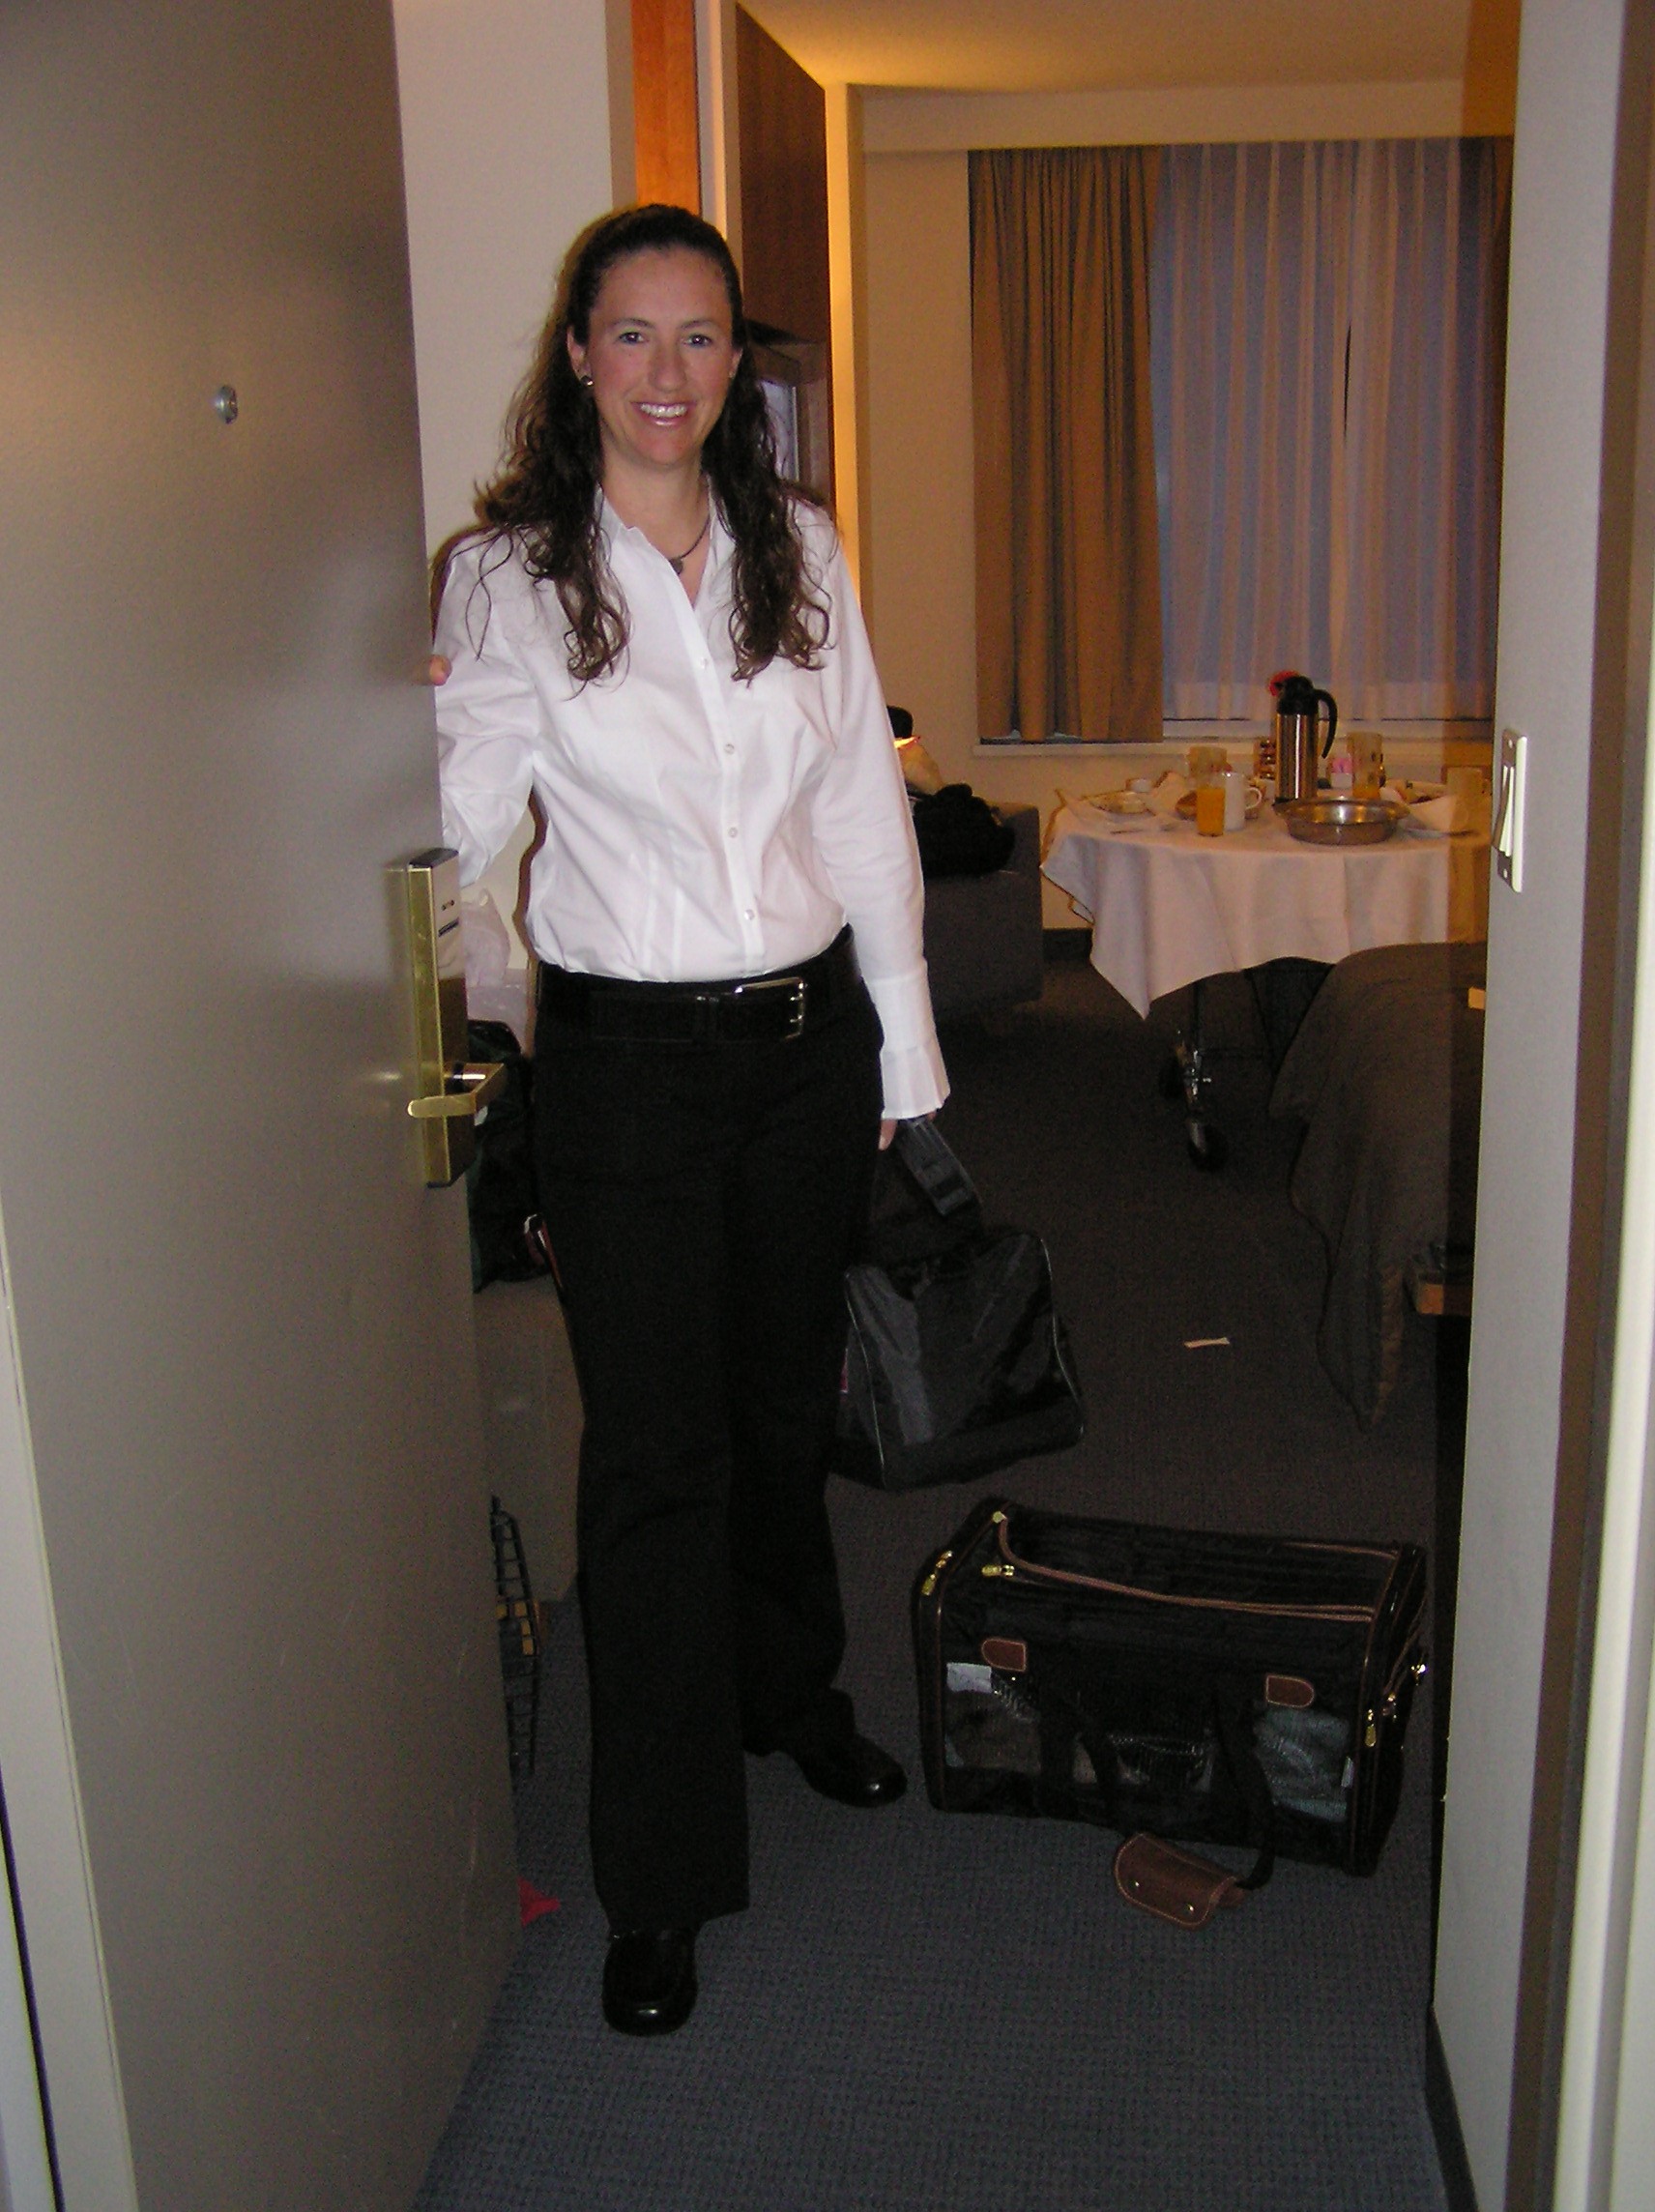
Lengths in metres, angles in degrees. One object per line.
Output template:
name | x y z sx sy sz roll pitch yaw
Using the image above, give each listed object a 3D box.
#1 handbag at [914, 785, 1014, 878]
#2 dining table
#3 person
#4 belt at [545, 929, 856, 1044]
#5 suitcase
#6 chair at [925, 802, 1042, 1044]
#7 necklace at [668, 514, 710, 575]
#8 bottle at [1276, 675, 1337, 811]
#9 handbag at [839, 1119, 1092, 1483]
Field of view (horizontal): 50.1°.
handbag | 0.390 -0.822 5.380 0.347 0.309 0.148 2 -9 4
dining table | 1.020 -0.493 4.189 0.537 0.242 0.587 -6 24 -5
person | -0.112 0.026 1.740 0.478 1.652 0.265 -12 16 -42
belt | -0.108 -0.101 1.632 0.313 0.075 0.136 -4 13 -11
suitcase | 0.381 0.561 1.971 0.457 0.353 0.319 6 14 17
chair | 0.563 -0.617 5.692 0.530 0.869 0.580 0 17 1
necklace | -0.123 -0.496 1.580 0.028 0.056 0.013 23 -23 -8
bottle | 1.208 -0.936 4.492 0.138 0.308 0.525 2 14 16
handbag | 0.195 0.291 2.459 0.380 0.565 0.271 -16 24 -34
